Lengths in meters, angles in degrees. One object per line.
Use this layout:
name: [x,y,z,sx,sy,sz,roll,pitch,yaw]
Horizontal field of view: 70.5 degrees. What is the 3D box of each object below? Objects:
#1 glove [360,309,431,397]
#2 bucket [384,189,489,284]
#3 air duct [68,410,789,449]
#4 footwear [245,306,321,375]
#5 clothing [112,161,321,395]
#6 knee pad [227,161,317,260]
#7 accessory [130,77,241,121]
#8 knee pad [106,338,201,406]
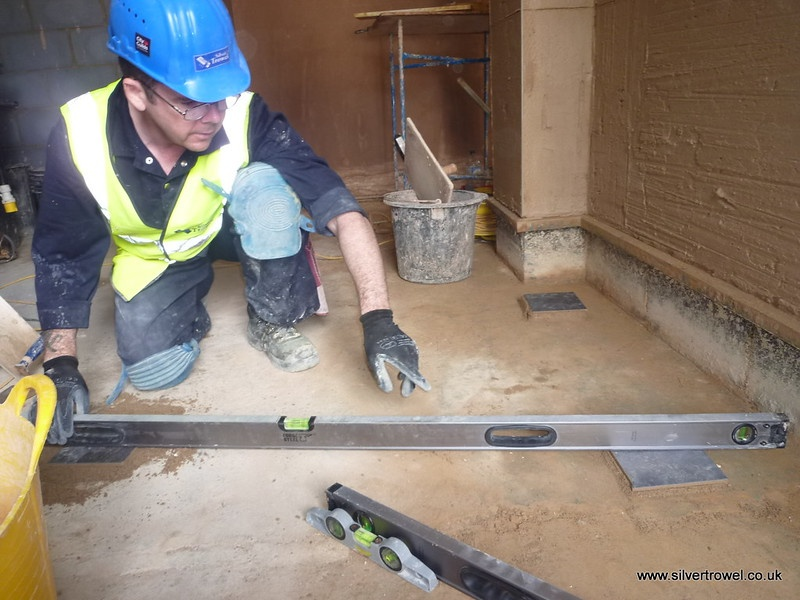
glove: [-0.021,0.181,1.707,0.186,0.078,0.292,-16,45,-16]
bucket: [0.141,-0.343,2.980,0.568,0.347,0.507,-2,15,-7]
air duct: [0.082,0.384,1.648,2.379,0.110,0.137,-1,5,5]
footwear: [-0.464,0.152,2.270,0.417,0.158,0.143,17,31,37]
clothing: [-0.686,-0.080,2.098,0.596,0.761,0.546,-19,72,-46]
knee pad: [-0.472,-0.312,1.983,0.367,0.316,0.100,-19,26,-13]
accessory: [-0.666,-0.610,1.749,0.176,0.049,0.171,34,30,17]
knee pad: [-0.912,0.253,2.093,0.269,0.122,0.204,-19,13,-37]
